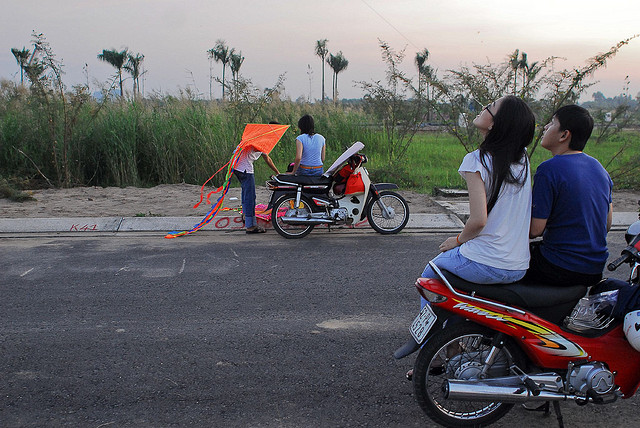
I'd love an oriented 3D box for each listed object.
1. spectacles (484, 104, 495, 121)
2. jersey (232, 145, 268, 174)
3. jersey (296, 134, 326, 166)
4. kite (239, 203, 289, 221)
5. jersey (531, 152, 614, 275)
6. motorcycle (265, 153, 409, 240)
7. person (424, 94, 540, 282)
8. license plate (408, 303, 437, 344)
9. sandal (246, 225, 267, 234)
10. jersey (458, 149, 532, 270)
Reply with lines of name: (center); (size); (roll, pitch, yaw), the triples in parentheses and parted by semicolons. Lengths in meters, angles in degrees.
spectacles: (1.446, -0.875, 4.019); (0.106, 0.109, 0.039); (23, 35, 20)
jersey: (-1.510, -1.136, 9.766); (0.517, 0.544, 0.228); (-6, 17, -24)
jersey: (-0.210, -1.324, 9.846); (0.706, 0.671, 0.359); (-2, 8, -17)
kite: (-1.176, -0.025, 10.000); (0.988, 0.590, 0.435); (-3, 7, 3)
jersey: (2.151, -0.005, 4.024); (0.693, 0.989, 0.421); (4, 16, 12)
motorcycle: (0.399, -0.347, 9.673); (2.853, 1.682, 0.886); (-3, 2, -6)
person: (1.448, -0.208, 3.952); (0.737, 1.507, 0.489); (6, 16, 18)
license plate: (0.832, 0.943, 3.985); (0.075, 0.277, 0.274); (30, 24, -3)
sandal: (-1.341, 0.330, 9.914); (0.407, 0.171, 0.132); (-4, 12, -24)
jersey: (1.491, -0.024, 3.970); (0.669, 0.991, 0.371); (4, 15, 10)
